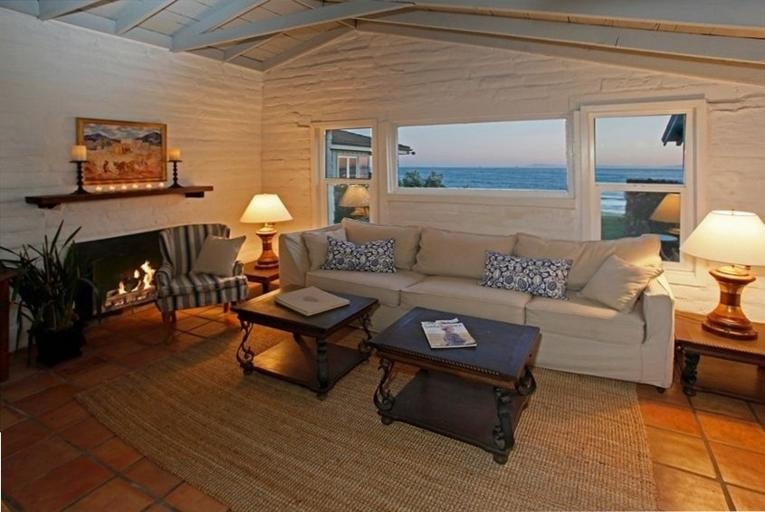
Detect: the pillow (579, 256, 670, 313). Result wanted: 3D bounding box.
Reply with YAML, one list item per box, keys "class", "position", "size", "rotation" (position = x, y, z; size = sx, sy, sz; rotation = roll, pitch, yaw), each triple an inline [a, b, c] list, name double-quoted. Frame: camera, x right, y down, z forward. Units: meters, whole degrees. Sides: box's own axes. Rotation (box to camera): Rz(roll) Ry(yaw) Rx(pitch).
- class: "pillow"
  position: [2.127, 0.241, 4.313]
  size: [0.423, 0.401, 0.478]
  rotation: [-7, 15, -31]

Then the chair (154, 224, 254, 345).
- class: "chair"
  position: [-2.051, 0.169, 5.200]
  size: [0.995, 0.975, 1.032]
  rotation: [-12, 15, -41]

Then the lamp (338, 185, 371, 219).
- class: "lamp"
  position: [-0.352, -0.754, 6.491]
  size: [0.550, 0.398, 0.493]
  rotation: [-3, 11, -3]

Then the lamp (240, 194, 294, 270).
- class: "lamp"
  position: [-1.460, -0.258, 6.106]
  size: [0.743, 0.857, 0.648]
  rotation: [-6, -3, -3]

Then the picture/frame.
- class: "picture/frame"
  position: [-2.887, -1.146, 5.149]
  size: [0.045, 0.662, 0.957]
  rotation: [7, 9, 36]

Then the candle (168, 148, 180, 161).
- class: "candle"
  position: [-2.443, -1.200, 5.589]
  size: [0.175, 0.167, 0.158]
  rotation: [0, 12, -9]

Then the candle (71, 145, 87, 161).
- class: "candle"
  position: [-3.083, -1.044, 4.796]
  size: [0.148, 0.166, 0.246]
  rotation: [-6, 15, -29]

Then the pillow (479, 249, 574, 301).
- class: "pillow"
  position: [1.373, 0.187, 4.646]
  size: [0.817, 0.353, 0.343]
  rotation: [6, 14, 20]

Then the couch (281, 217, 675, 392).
- class: "couch"
  position: [0.858, 0.308, 4.954]
  size: [3.778, 1.087, 1.041]
  rotation: [7, 18, 15]

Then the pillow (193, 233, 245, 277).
- class: "pillow"
  position: [-1.782, -0.010, 5.214]
  size: [0.519, 0.430, 0.146]
  rotation: [5, -18, 19]

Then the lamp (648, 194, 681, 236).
- class: "lamp"
  position: [2.946, -0.439, 4.927]
  size: [0.433, 0.393, 0.377]
  rotation: [-4, 6, 8]
